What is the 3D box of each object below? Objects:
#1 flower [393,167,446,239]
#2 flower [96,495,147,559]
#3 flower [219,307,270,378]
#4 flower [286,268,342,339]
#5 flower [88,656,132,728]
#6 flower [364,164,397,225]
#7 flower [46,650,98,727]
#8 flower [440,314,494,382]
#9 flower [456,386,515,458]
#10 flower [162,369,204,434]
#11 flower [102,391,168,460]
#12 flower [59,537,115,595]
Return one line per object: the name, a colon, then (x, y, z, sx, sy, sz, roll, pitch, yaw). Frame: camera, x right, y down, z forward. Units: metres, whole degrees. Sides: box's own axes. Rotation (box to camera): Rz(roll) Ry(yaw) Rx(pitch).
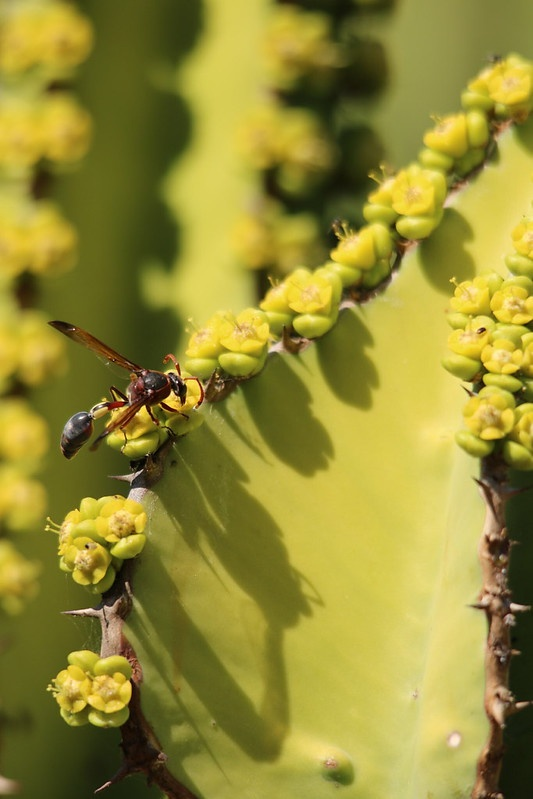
flower: (0.324, -0.404, 2.662, 0.066, 0.142, 0.134, -1, 27, -47)
flower: (-0.305, 0.275, 2.581, 0.106, 0.103, 0.089, 15, 26, 31)
flower: (-0.046, -0.108, 2.690, 0.114, 0.094, 0.180, -10, -5, 14)
flower: (0.125, -0.209, 2.676, 0.131, 0.063, 0.118, -13, 12, 28)
flower: (-0.316, 0.604, 2.571, 0.117, 0.128, 0.068, 0, 7, 11)
flower: (0.257, -0.448, 2.732, 0.083, 0.106, 0.081, 19, 28, 30)
flower: (-0.416, 0.616, 2.615, 0.096, 0.121, 0.166, 0, -21, -13)
flower: (0.437, -0.094, 2.620, 0.108, 0.130, 0.088, 2, -22, 43)
flower: (0.450, 0.053, 2.510, 0.111, 0.127, 0.079, 4, 23, 9)
flower: (-0.186, 0.015, 2.667, 0.115, 0.099, 0.036, -10, -19, 32)
flower: (-0.271, 0.066, 2.639, 0.125, 0.050, 0.119, 25, 58, 31)
flower: (-0.392, 0.352, 2.600, 0.133, 0.120, 0.065, 7, 24, 15)
